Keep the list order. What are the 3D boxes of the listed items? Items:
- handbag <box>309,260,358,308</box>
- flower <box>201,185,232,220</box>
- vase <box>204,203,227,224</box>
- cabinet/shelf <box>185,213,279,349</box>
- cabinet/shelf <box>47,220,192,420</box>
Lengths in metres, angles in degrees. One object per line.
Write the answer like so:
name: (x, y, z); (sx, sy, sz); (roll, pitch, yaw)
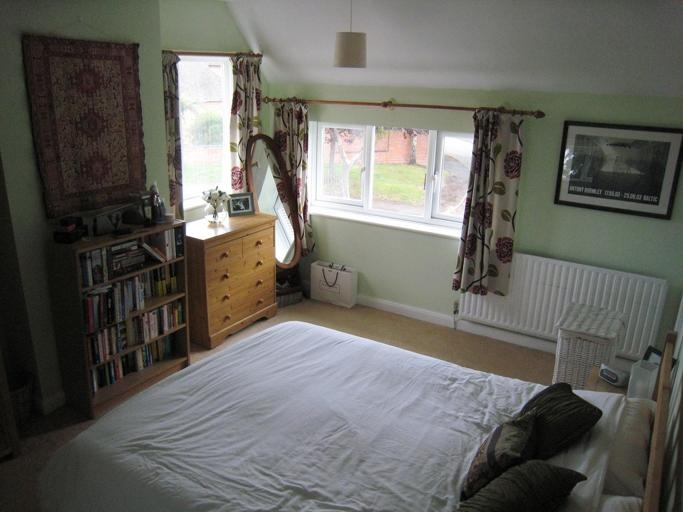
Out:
handbag: (-0.073, 0.329, 5.564); (0.415, 0.384, 0.208); (8, 19, 20)
flower: (-1.216, -0.501, 4.790); (0.290, 0.365, 0.333); (1, 8, 13)
vase: (-1.243, -0.430, 4.885); (0.186, 0.187, 0.192); (2, 18, 0)
cabinet/shelf: (-1.073, 0.227, 4.667); (0.512, 1.065, 1.011); (7, 16, 24)
cabinet/shelf: (-1.705, 0.466, 3.691); (0.401, 1.636, 1.061); (4, 16, 17)
